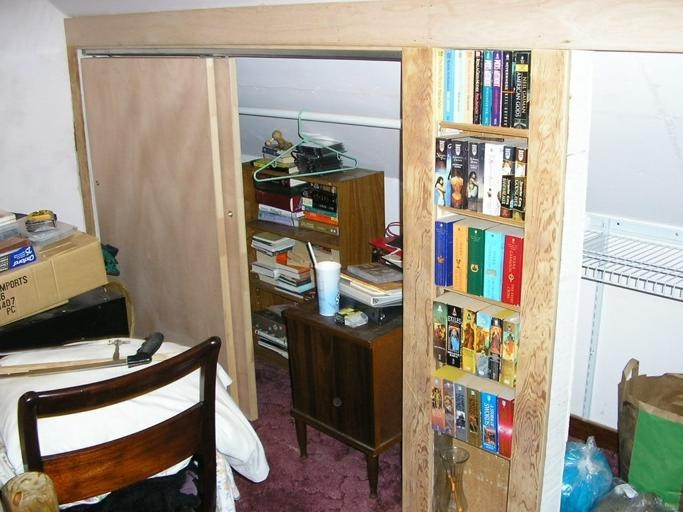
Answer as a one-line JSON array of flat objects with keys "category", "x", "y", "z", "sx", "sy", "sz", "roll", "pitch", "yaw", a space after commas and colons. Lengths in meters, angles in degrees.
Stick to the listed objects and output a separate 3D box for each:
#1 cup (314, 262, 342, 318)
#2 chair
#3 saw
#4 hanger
[{"category": "cup", "x": -0.059, "y": 0.150, "z": 2.545, "sx": 0.115, "sy": 0.233, "sz": 0.129, "roll": -2, "pitch": 17, "yaw": -1}, {"category": "chair", "x": -0.697, "y": 0.543, "z": 1.765, "sx": 0.374, "sy": 0.637, "sz": 0.421, "roll": -21, "pitch": 48, "yaw": -35}, {"category": "saw", "x": -1.035, "y": 0.389, "z": 2.183, "sx": 0.720, "sy": 0.141, "sz": 0.124, "roll": -1, "pitch": 5, "yaw": -18}, {"category": "hanger", "x": -0.194, "y": -0.653, "z": 3.396, "sx": 0.464, "sy": 0.297, "sz": 0.020, "roll": -6, "pitch": 3, "yaw": 14}]
